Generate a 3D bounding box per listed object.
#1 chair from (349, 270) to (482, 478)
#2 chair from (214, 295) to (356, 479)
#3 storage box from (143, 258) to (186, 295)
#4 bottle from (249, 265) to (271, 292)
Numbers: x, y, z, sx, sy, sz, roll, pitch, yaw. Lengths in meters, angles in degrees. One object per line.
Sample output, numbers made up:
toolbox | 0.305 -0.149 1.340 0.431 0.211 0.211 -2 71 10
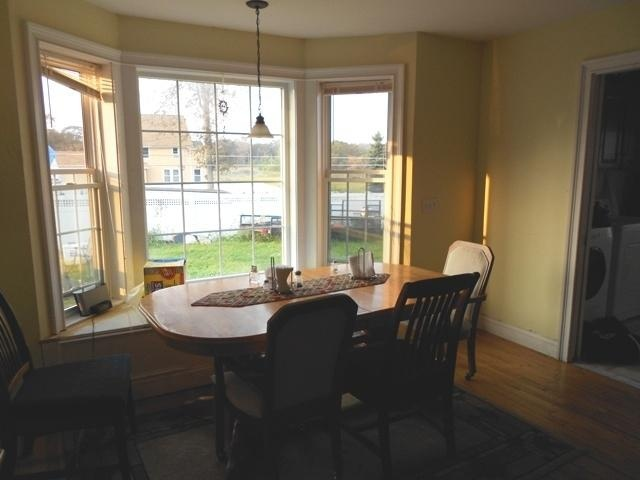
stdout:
chair | 0.538 0.789 3.060 0.776 1.175 0.411 -6 9 -28
chair | -0.195 0.855 2.744 0.812 1.169 0.423 1 9 23
storage box | -1.268 0.274 4.039 0.350 0.367 0.255 2 0 -20
bottle | -0.440 0.284 3.560 0.154 0.160 0.052 -3 7 -27
